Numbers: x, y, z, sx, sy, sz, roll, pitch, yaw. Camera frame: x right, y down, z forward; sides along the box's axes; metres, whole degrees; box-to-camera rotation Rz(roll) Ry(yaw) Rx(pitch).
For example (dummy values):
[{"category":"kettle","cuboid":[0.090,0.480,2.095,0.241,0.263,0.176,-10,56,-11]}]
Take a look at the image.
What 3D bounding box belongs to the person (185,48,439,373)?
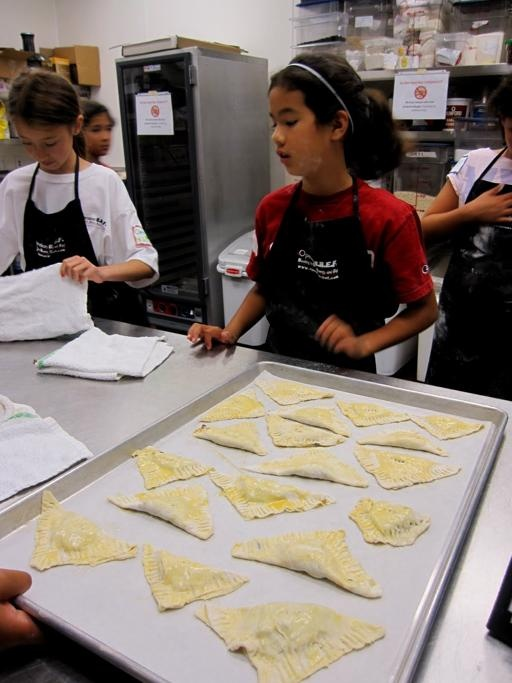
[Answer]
[{"category":"person","cuboid":[0.193,-0.315,1.498,0.650,0.921,0.451,11,27,24]}]
